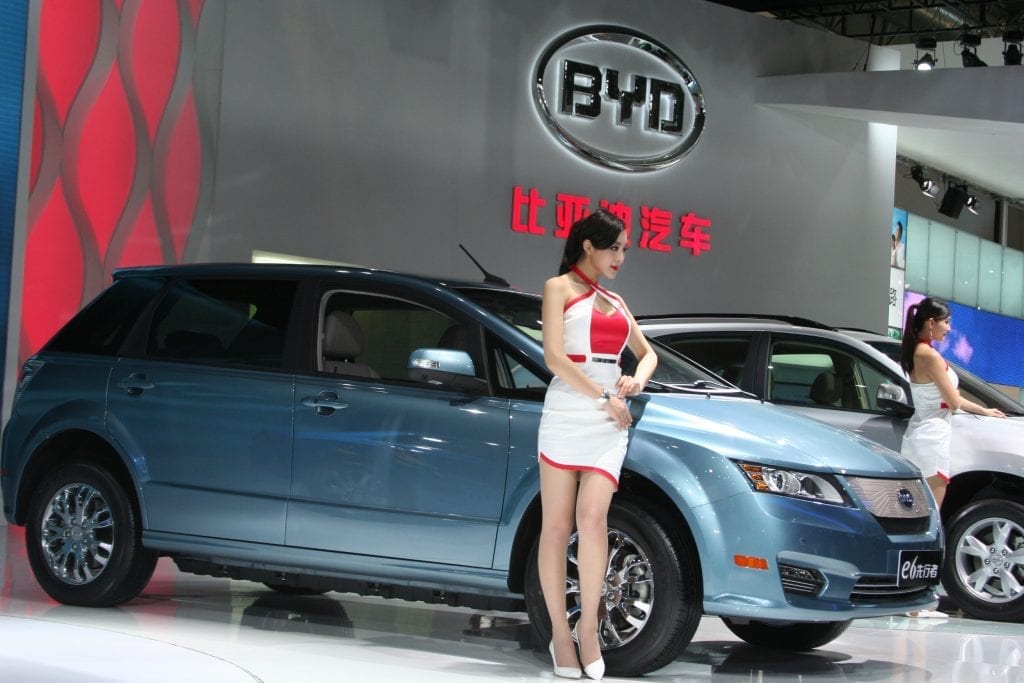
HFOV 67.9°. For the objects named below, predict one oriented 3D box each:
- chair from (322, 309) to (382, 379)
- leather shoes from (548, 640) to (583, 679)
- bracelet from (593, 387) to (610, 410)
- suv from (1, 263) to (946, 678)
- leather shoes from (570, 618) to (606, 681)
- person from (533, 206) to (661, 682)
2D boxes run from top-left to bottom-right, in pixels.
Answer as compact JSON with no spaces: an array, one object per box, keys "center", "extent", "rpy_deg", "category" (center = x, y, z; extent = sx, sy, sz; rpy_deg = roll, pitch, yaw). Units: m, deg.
[{"center":[-0.994,0.025,4.699],"extent":[0.269,0.373,0.335],"rpy_deg":[4,2,-33],"category":"chair"},{"center":[0.239,1.699,4.033],"extent":[0.100,0.124,0.297],"rpy_deg":[5,-4,-32],"category":"leather shoes"},{"center":[0.458,0.285,3.757],"extent":[0.089,0.093,0.058],"rpy_deg":[27,7,24],"category":"bracelet"},{"center":[-0.404,0.735,5.070],"extent":[5.544,2.124,2.606],"rpy_deg":[-2,-6,24],"category":"suv"},{"center":[0.401,1.625,3.939],"extent":[0.141,0.377,0.102],"rpy_deg":[-11,0,17],"category":"leather shoes"},{"center":[0.381,0.507,3.923],"extent":[0.475,2.413,0.326],"rpy_deg":[1,-8,8],"category":"person"}]
